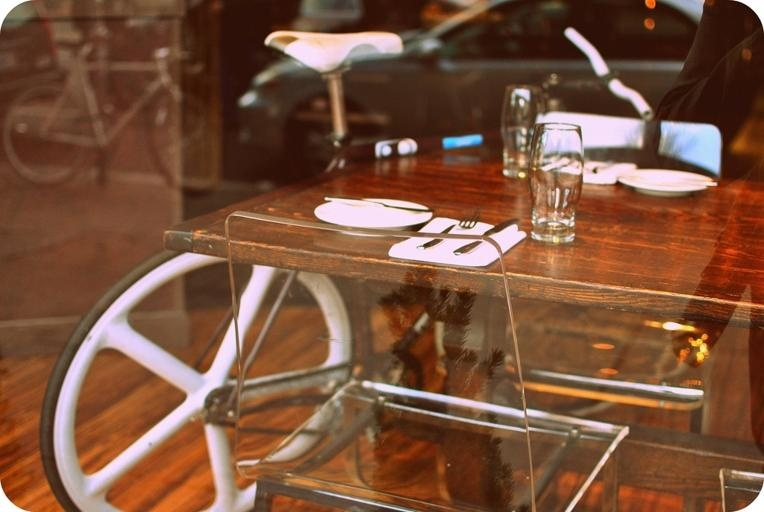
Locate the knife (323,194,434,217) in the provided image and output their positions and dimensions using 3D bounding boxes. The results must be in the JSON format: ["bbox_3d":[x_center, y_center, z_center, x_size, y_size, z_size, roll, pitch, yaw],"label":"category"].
[{"bbox_3d":[-0.007,-0.095,1.334,0.273,0.032,0.030,-5,45,-36],"label":"knife"}]
